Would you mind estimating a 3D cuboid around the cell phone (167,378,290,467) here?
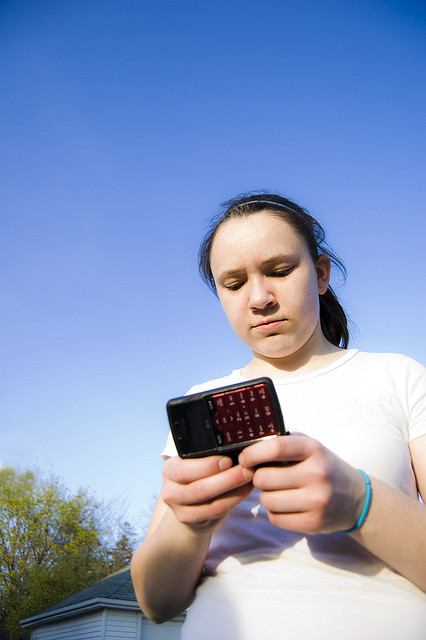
[{"bbox_3d":[0.030,0.239,1.300,0.287,0.158,0.040,-23,-15,20],"label":"cell phone"}]
